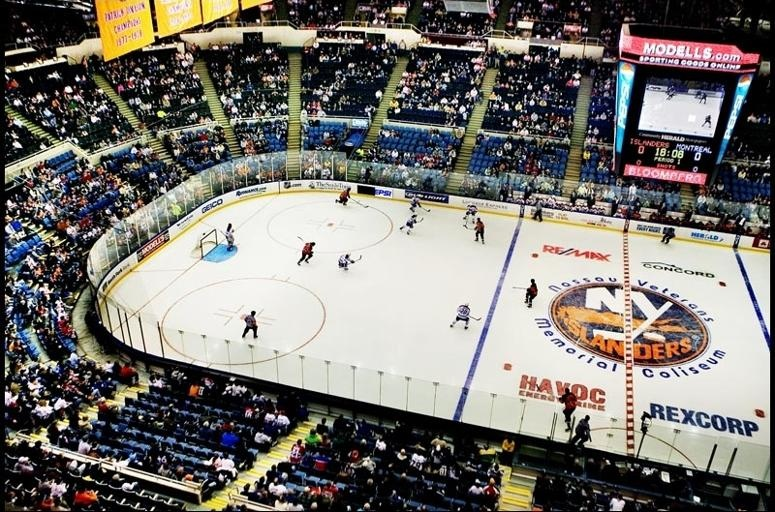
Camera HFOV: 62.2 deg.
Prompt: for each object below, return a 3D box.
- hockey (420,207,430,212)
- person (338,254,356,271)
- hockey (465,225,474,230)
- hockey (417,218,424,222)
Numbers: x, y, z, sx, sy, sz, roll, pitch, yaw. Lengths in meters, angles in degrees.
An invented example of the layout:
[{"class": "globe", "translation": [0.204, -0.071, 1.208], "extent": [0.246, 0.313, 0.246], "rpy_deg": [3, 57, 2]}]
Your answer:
[{"class": "hockey", "translation": [2.746, -3.330, 45.350], "extent": [0.576, 0.144, 0.500], "rpy_deg": [-9, 42, -6]}, {"class": "person", "translation": [-2.396, 0.137, 38.461], "extent": [1.083, 1.535, 0.748], "rpy_deg": [-5, 75, -7]}, {"class": "hockey", "translation": [5.514, -1.954, 43.000], "extent": [0.650, 0.135, 0.478], "rpy_deg": [-8, 42, -4]}, {"class": "hockey", "translation": [2.215, -2.502, 43.934], "extent": [0.291, 0.091, 0.288], "rpy_deg": [-9, 32, -4]}]
